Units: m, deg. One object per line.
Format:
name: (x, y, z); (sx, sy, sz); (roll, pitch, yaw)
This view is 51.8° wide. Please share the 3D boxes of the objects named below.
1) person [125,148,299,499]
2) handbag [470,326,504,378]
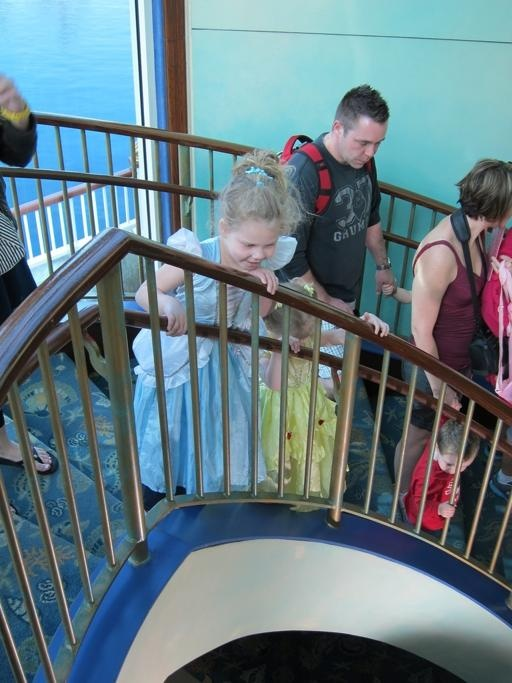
person: (-0.162, -0.002, 1.550); (0.364, 1.044, 0.483); (13, 17, 16)
handbag: (0.885, 0.020, 2.086); (0.094, 0.194, 0.210); (1, 22, 29)
